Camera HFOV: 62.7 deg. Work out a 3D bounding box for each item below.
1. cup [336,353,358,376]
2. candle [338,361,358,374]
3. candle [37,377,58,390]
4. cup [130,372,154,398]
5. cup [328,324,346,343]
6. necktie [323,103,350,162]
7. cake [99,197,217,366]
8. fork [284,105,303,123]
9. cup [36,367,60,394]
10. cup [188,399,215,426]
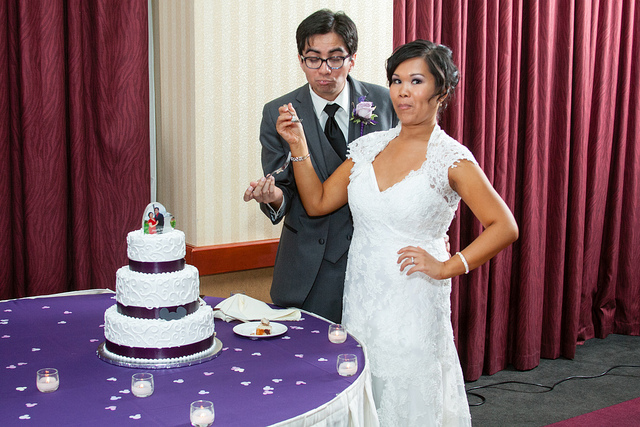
[{"bbox_3d":[0.114,0.657,2.292,0.075,0.059,0.076,1,-10,0],"label":"cup"},{"bbox_3d":[0.119,0.667,2.284,0.054,0.036,0.056,-1,1,9],"label":"candle"},{"bbox_3d":[-1.101,0.680,2.119,0.053,0.041,0.055,0,-8,4],"label":"candle"},{"bbox_3d":[-0.729,0.685,2.149,0.084,0.071,0.083,0,-1,0],"label":"cup"},{"bbox_3d":[0.076,0.583,2.572,0.071,0.060,0.074,-1,0,0],"label":"cup"},{"bbox_3d":[0.086,-0.455,3.030,0.109,0.364,0.046,-17,6,-18],"label":"necktie"},{"bbox_3d":[-0.686,0.279,2.579,0.630,0.872,0.634,0,2,-12],"label":"cake"},{"bbox_3d":[-0.141,-0.510,2.748,0.030,0.082,0.063,-37,11,-1],"label":"fork"},{"bbox_3d":[-1.106,0.667,2.139,0.086,0.080,0.090,1,-3,0],"label":"cup"},{"bbox_3d":[-0.445,0.745,1.967,0.080,0.064,0.083,1,0,0],"label":"cup"}]
